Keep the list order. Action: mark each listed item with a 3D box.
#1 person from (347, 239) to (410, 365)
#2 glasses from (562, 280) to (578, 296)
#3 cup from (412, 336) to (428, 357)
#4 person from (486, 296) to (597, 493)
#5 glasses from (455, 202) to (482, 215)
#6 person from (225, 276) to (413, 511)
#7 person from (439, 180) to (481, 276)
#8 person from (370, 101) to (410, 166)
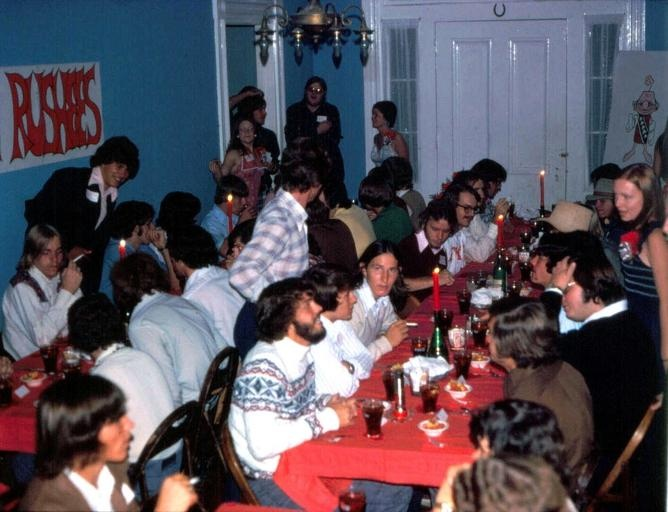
[{"bbox_3d":[0.247,0.378,3.738,0.412,0.956,0.488,-3,13,-15],"label":"person"},{"bbox_3d":[1.205,0.165,2.882,0.049,0.065,0.061,18,-22,17],"label":"glasses"},{"bbox_3d":[0.496,0.508,3.224,0.088,0.108,0.079,1,9,16],"label":"cup"},{"bbox_3d":[0.948,0.637,2.567,0.337,1.110,0.471,-22,31,-1],"label":"person"},{"bbox_3d":[1.194,-0.451,5.091,0.180,0.063,0.180,11,8,-46],"label":"glasses"},{"bbox_3d":[-0.146,0.459,2.979,0.798,1.590,0.693,-4,11,-10],"label":"person"},{"bbox_3d":[1.130,-0.216,5.077,0.292,1.007,0.293,-1,36,10],"label":"person"},{"bbox_3d":[0.769,-1.683,7.852,0.497,0.890,0.859,0,15,4],"label":"person"}]
